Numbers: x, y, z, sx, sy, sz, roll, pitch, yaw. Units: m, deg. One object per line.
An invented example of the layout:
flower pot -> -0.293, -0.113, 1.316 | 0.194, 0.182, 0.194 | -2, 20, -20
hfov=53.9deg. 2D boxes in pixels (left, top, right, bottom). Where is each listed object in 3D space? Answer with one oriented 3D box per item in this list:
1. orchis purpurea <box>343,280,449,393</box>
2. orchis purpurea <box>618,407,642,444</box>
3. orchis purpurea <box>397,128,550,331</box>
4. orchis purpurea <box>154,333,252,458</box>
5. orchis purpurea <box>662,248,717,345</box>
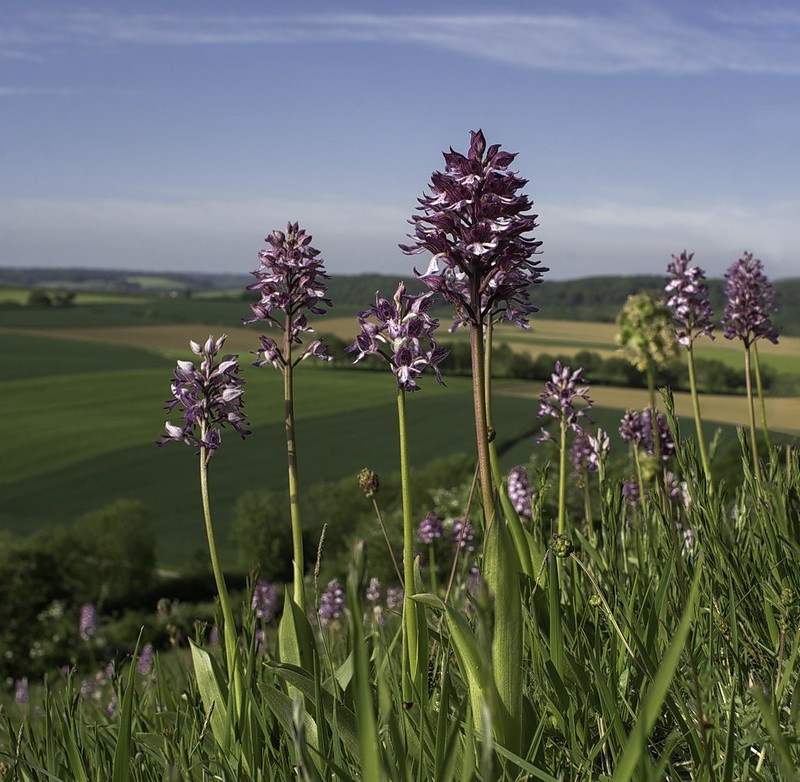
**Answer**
orchis purpurea -> -0.016, -0.159, 2.694 | 0.314, 0.438, 0.329 | -12, -7, -22
orchis purpurea -> 1.134, 0.200, 3.908 | 0.106, 0.198, 0.372 | 2, 6, 16
orchis purpurea -> 0.263, -0.492, 2.458 | 0.388, 0.585, 0.478 | 4, 7, 38
orchis purpurea -> -0.676, 0.028, 2.762 | 0.275, 0.424, 0.270 | -1, 5, -15
orchis purpurea -> 1.565, -0.497, 4.328 | 0.257, 0.521, 0.561 | 3, 6, 28
